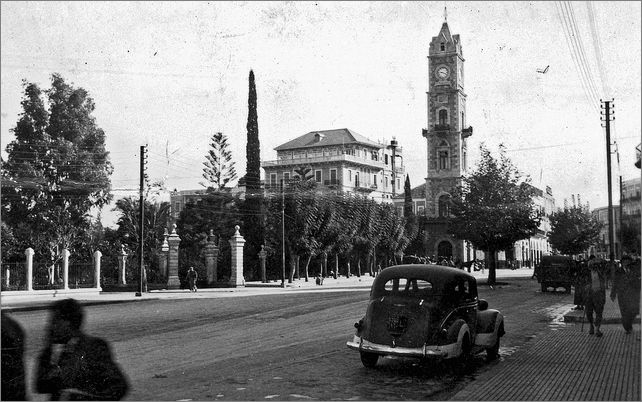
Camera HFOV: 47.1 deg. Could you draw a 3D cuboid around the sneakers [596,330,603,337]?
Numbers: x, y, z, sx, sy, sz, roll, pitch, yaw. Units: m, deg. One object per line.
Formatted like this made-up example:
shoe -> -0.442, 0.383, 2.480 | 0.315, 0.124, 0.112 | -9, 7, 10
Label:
sneakers -> 9.246, 4.384, 24.302 | 0.233, 0.197, 0.467 | -4, -8, 21
